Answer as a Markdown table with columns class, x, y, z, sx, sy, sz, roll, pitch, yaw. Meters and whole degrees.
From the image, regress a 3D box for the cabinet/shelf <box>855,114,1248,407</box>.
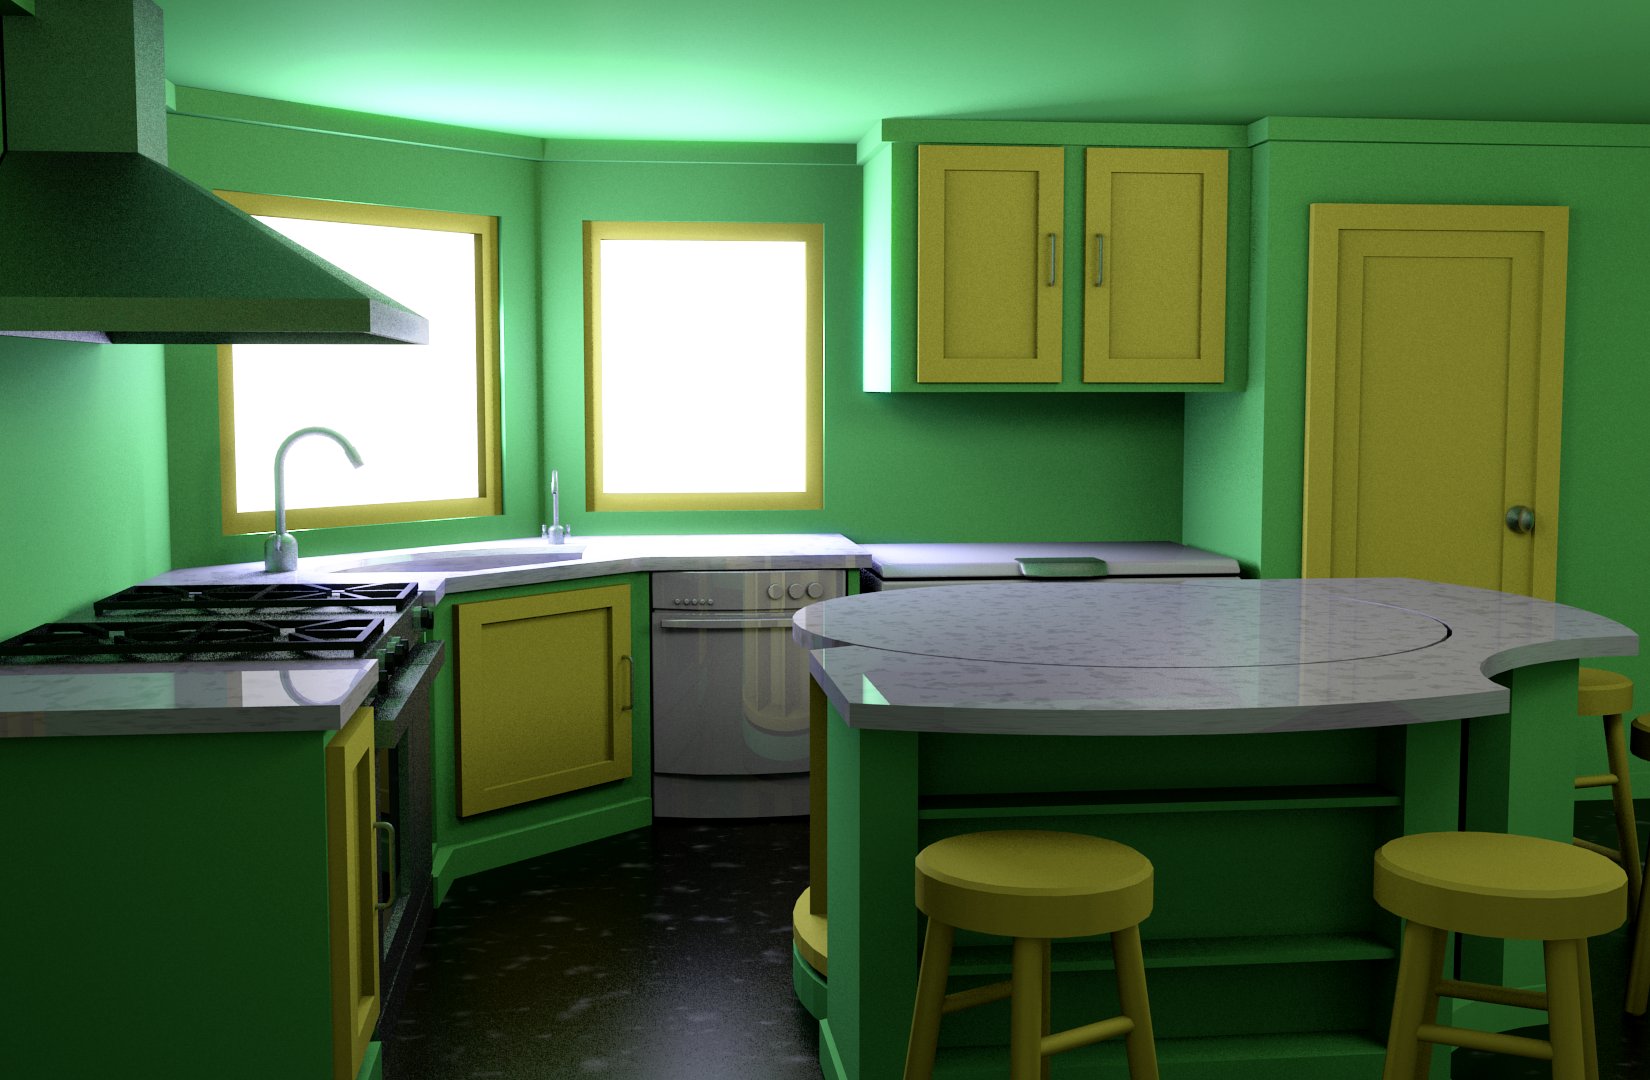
| class | x | y | z | sx | sy | sz | roll | pitch | yaw |
| --- | --- | --- | --- | --- | --- | --- | --- | --- | --- |
| cabinet/shelf | 0.884 | -1.152 | 5.894 | 1.725 | 1.038 | 0.886 | -4 | 9 | -23 |

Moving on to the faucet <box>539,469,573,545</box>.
| class | x | y | z | sx | sy | sz | roll | pitch | yaw |
| --- | --- | --- | --- | --- | --- | --- | --- | --- | --- |
| faucet | -1.155 | -0.143 | 5.805 | 0.116 | 0.306 | 0.403 | -4 | 14 | -10 |
